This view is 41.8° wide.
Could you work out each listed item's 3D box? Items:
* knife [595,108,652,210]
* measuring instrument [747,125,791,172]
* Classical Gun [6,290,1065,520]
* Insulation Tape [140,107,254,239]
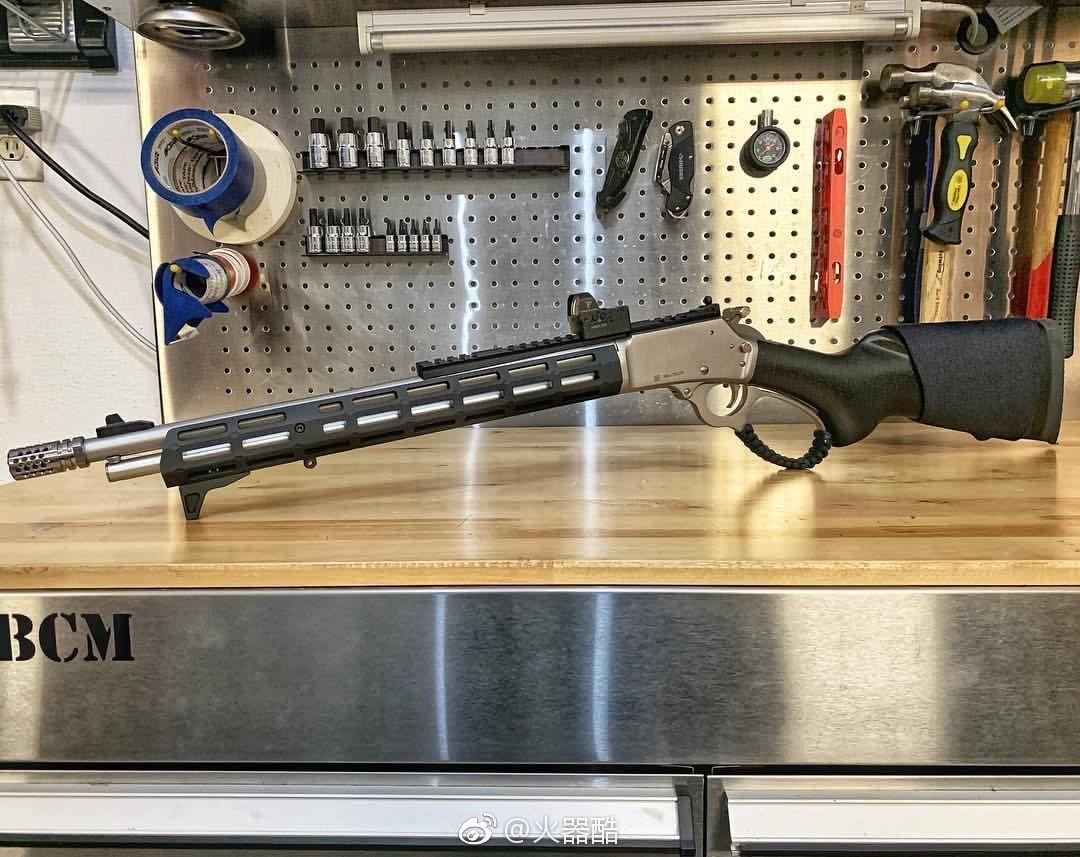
[{"bbox_3d":[0.128,-0.419,2.196,0.046,0.036,0.171,18,-83,-3],"label":"knife"},{"bbox_3d":[0.353,-0.441,2.185,0.081,0.044,0.072,-4,-85,0],"label":"measuring instrument"},{"bbox_3d":[0.046,-0.050,1.885,1.350,0.226,0.260,-3,-82,0],"label":"Classical Gun"},{"bbox_3d":[-0.506,-0.405,2.173,0.183,0.118,0.184,15,-63,26],"label":"Insulation Tape"}]
